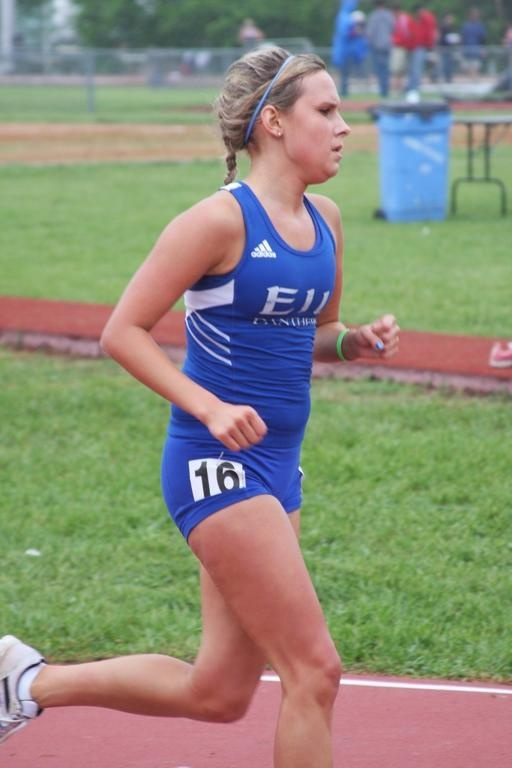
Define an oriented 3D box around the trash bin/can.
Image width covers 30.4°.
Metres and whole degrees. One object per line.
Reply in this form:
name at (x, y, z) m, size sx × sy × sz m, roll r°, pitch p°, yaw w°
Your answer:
trash bin/can at (0.562, -0.841, 3.592) m, size 0.392 × 0.449 × 0.391 m, roll 12°, pitch 21°, yaw 38°
